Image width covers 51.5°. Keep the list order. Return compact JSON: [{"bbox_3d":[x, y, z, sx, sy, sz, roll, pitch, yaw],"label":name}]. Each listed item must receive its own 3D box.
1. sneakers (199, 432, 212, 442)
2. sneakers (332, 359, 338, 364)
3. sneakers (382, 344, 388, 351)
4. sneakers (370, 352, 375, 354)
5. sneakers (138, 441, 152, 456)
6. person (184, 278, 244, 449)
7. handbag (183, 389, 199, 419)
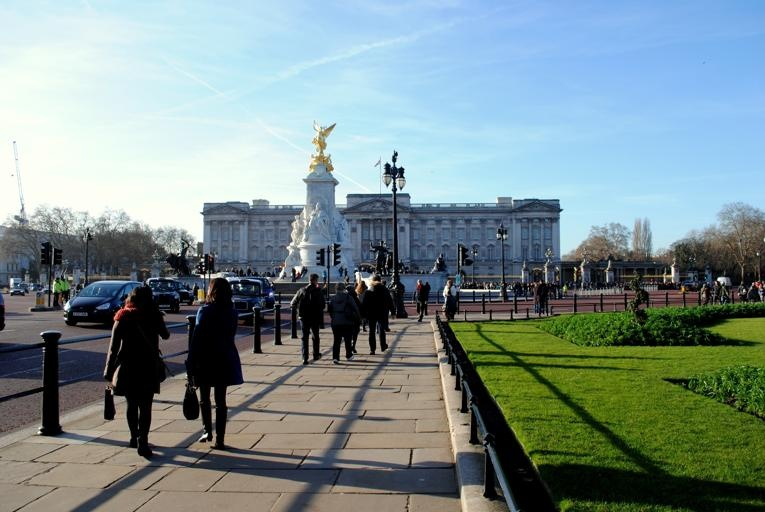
[{"bbox_3d":[-2.850,2.920,12.831,0.122,0.109,0.231,0,6,-32],"label":"sneakers"},{"bbox_3d":[-1.132,2.554,19.251,0.099,0.060,0.131,4,1,-7],"label":"sneakers"},{"bbox_3d":[0.082,2.519,21.883,0.161,0.222,0.129,0,-5,-2],"label":"sneakers"},{"bbox_3d":[-0.247,2.566,21.033,0.115,0.105,0.057,0,-12,3],"label":"sneakers"},{"bbox_3d":[-3.670,2.973,12.273,0.210,0.227,0.198,-4,8,-18],"label":"sneakers"},{"bbox_3d":[-2.676,1.659,12.899,0.864,2.629,0.816,6,10,40],"label":"person"},{"bbox_3d":[-3.045,2.380,12.696,0.245,0.590,0.406,-3,8,-14],"label":"handbag"}]
